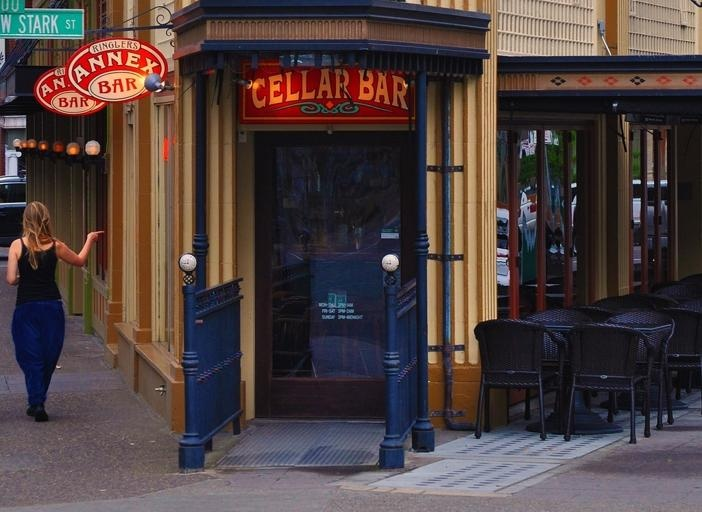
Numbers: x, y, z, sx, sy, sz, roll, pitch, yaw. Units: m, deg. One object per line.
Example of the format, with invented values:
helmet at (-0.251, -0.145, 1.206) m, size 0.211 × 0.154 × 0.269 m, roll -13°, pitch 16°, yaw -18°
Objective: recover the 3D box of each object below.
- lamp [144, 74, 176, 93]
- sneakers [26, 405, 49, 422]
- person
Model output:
lamp at (-2.051, -1.799, 14.417) m, size 0.336 × 0.163 × 0.186 m, roll 25°, pitch 36°, yaw 22°
sneakers at (-3.445, 1.710, 14.925) m, size 0.110 × 0.140 × 0.305 m, roll -2°, pitch 7°, yaw -26°
person at (-3.341, 0.597, 14.899) m, size 0.762 × 2.369 × 0.461 m, roll -3°, pitch 6°, yaw -15°
